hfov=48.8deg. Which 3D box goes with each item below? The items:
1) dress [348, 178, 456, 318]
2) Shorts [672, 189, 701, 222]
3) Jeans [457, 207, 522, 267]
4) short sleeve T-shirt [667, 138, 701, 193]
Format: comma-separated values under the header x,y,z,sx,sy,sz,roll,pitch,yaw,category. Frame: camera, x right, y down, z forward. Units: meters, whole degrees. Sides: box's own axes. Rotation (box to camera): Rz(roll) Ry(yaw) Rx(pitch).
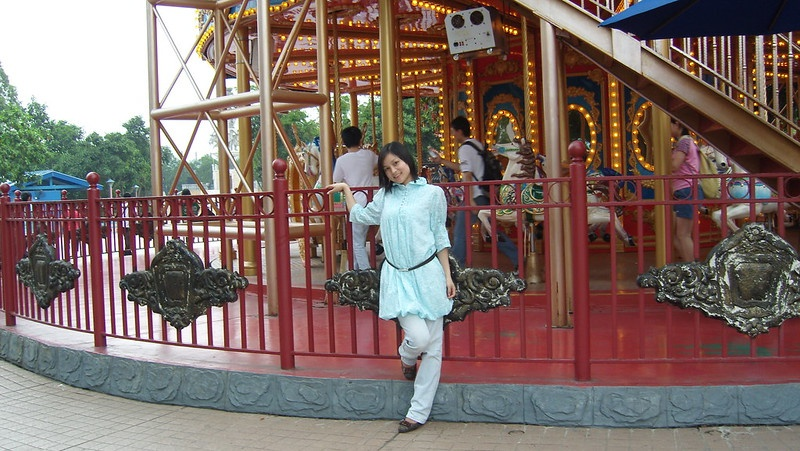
x,y,z,sx,sy,sz,roll,pitch,yaw,category
0.069,0.265,10.072,0.961,1.585,0.405,-2,4,1,dress
3.758,-0.270,11.626,0.292,0.407,0.457,-3,6,-34,Shorts
1.249,0.248,13.323,1.154,0.959,0.834,0,-2,1,Jeans
3.896,-0.799,12.140,0.535,0.898,0.848,2,6,28,short sleeve T-shirt
